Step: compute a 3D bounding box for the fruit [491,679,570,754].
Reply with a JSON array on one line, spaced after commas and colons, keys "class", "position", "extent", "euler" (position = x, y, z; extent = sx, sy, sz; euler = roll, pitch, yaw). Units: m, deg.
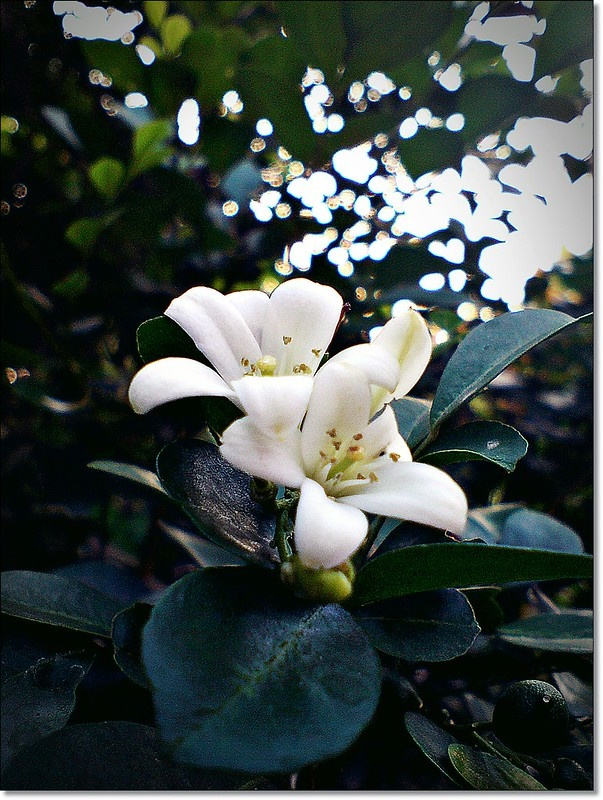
[{"class": "fruit", "position": [0.165, 0.232, 0.645], "extent": [0.062, 0.048, 0.030], "euler": [5, 1, -6]}]

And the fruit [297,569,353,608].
[{"class": "fruit", "position": [0.016, 0.128, 0.611], "extent": [0.035, 0.024, 0.017], "euler": [3, 60, 21]}]
